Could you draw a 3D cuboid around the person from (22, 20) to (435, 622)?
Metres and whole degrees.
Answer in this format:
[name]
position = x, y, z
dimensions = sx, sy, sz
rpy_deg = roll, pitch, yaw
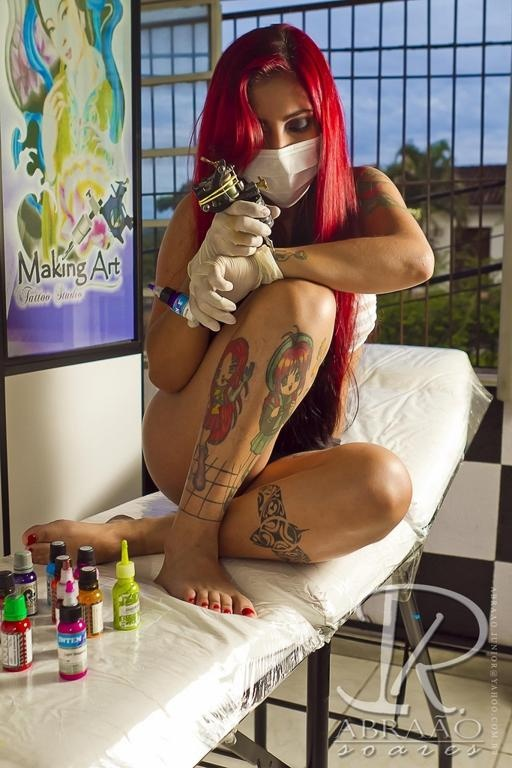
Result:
[person]
position = 0.027, -0.115, 1.049
dimensions = 0.443, 0.822, 0.480
rpy_deg = 7, -5, -30

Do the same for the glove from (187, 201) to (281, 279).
[glove]
position = -0.032, -0.195, 0.941
dimensions = 0.095, 0.074, 0.150
rpy_deg = -15, -1, 6
